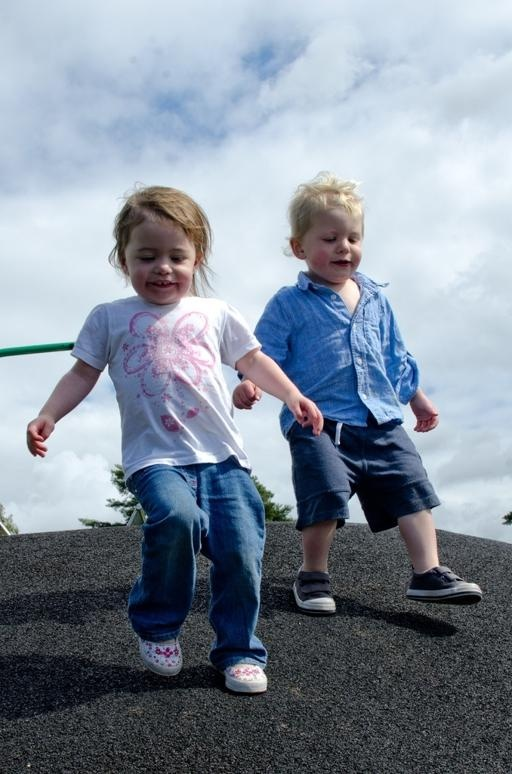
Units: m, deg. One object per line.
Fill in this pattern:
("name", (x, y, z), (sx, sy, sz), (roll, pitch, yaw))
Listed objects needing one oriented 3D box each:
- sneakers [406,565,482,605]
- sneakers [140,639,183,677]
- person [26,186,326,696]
("sneakers", (0.624, 0.678, 2.372), (0.107, 0.111, 0.284), (15, -19, -38))
("sneakers", (-0.253, 0.701, 1.781), (0.063, 0.051, 0.138), (4, 1, -34))
("person", (-0.213, 0.186, 1.944), (0.644, 1.136, 0.557), (0, -1, 23))
